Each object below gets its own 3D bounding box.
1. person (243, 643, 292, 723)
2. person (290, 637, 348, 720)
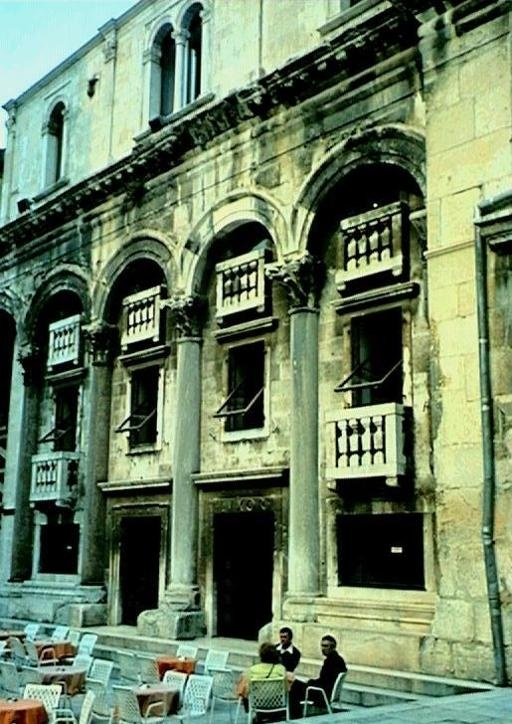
[{"bbox_3d":[0.089,3.875,9.644,0.547,0.935,0.922,0,-16,0],"label":"person"},{"bbox_3d":[0.758,3.876,9.846,0.690,0.957,0.586,-1,-14,4],"label":"person"}]
